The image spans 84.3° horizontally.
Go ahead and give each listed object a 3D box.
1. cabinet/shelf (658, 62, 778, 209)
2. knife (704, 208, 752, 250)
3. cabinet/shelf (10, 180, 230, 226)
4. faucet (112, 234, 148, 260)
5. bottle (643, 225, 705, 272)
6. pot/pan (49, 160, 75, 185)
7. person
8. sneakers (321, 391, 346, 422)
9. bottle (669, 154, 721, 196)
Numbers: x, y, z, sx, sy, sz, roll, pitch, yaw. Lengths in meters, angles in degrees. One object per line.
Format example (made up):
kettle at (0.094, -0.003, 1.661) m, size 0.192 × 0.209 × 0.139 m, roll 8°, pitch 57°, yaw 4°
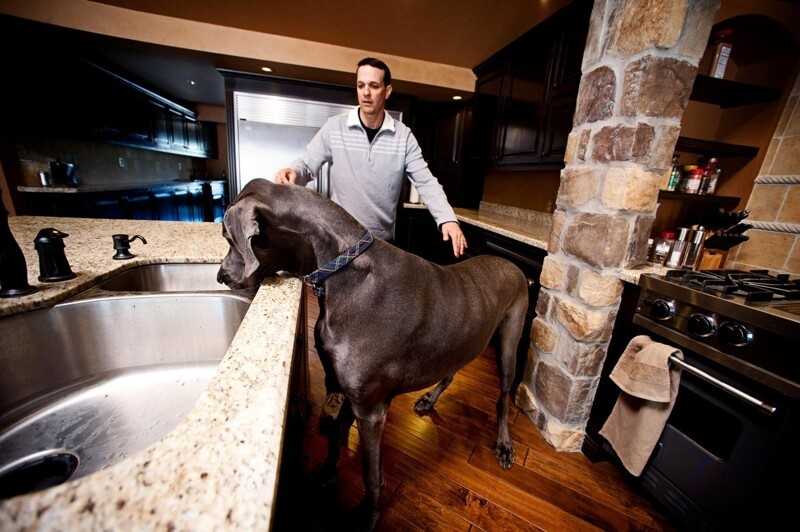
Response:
cabinet/shelf at (2.249, -0.892, 3.210) m, size 0.655 × 0.798 × 0.436 m, roll -1°, pitch 14°, yaw -13°
knife at (2.123, -0.244, 2.859) m, size 0.230 × 0.308 × 0.132 m, roll 19°, pitch 38°, yaw 40°
cabinet/shelf at (-3.134, -0.706, 4.870) m, size 0.250 × 0.307 × 1.411 m, roll 22°, pitch 17°, yaw 26°
faucet at (-1.626, -0.117, 2.661) m, size 0.243 × 0.175 × 0.134 m, roll 3°, pitch 3°, yaw -36°
bottle at (1.752, -0.131, 2.847) m, size 0.347 × 0.267 × 0.167 m, roll -1°, pitch 14°, yaw -12°
pot/pan at (-3.517, -0.960, 4.591) m, size 0.117 × 0.232 × 0.265 m, roll 3°, pitch 13°, yaw 5°
person at (-0.280, -0.252, 3.450) m, size 1.460 × 2.426 × 0.817 m, roll 2°, pitch 27°, yaw -9°
sneakers at (-0.397, 0.810, 2.561) m, size 0.123 × 0.193 × 0.052 m, roll 15°, pitch 6°, yaw 2°
bottle at (2.055, -0.636, 3.094) m, size 0.392 × 0.261 × 0.216 m, roll -10°, pitch 18°, yaw -43°
